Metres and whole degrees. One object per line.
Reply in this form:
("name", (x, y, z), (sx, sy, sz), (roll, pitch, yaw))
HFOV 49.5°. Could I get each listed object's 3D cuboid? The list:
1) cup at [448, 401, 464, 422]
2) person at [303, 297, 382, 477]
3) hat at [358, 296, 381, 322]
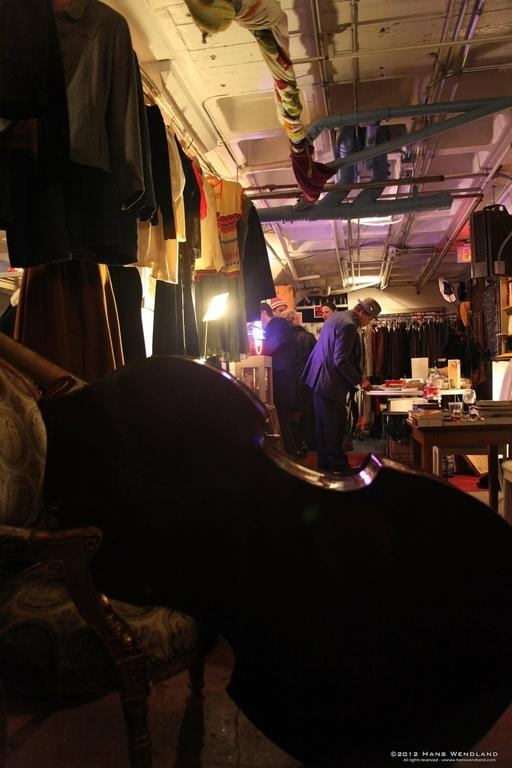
("cup", (0.868, 0.121, 2.404), (0.077, 0.097, 0.087), (0, -7, 10))
("person", (0.655, -0.002, 4.258), (0.529, 1.338, 0.458), (-3, 15, -11))
("hat", (0.908, -0.573, 4.278), (0.075, 0.212, 0.175), (-28, 9, 5))
